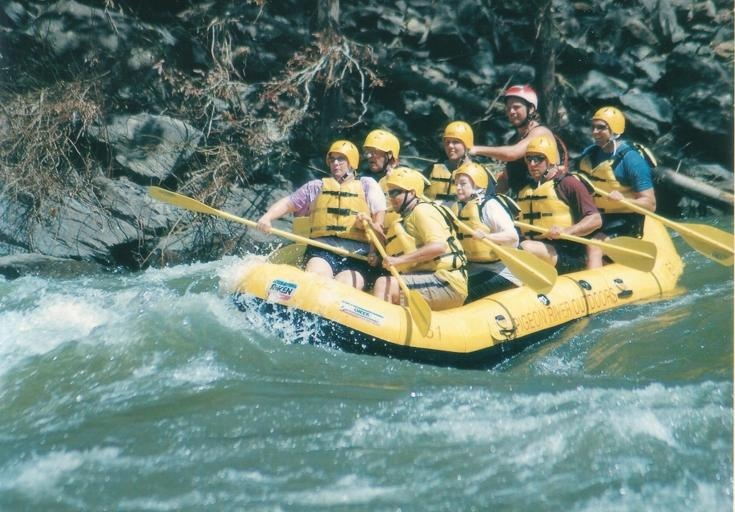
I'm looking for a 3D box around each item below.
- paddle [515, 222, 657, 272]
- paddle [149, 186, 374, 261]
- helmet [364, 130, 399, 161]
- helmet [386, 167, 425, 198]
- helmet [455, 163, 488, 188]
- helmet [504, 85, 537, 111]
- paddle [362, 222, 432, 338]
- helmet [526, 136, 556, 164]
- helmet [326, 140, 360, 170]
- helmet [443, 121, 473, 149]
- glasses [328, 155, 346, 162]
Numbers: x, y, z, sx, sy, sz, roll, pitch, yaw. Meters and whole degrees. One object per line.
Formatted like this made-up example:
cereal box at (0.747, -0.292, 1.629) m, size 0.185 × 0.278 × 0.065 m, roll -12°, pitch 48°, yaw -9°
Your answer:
paddle at (2.772, -0.195, 9.835) m, size 1.935 × 0.455 × 0.138 m, roll 15°, pitch 46°, yaw 24°
paddle at (-1.730, -0.463, 11.204) m, size 3.138 × 0.343 × 0.170 m, roll 20°, pitch 34°, yaw 2°
helmet at (0.199, -1.423, 9.727) m, size 0.465 × 0.356 × 0.360 m, roll -10°, pitch 25°, yaw -25°
helmet at (0.483, -0.848, 9.034) m, size 0.443 × 0.275 × 0.316 m, roll 3°, pitch 28°, yaw -43°
helmet at (1.306, -1.009, 9.317) m, size 0.357 × 0.292 × 0.286 m, roll -32°, pitch 13°, yaw -4°
helmet at (2.181, -2.194, 10.429) m, size 0.361 × 0.317 × 0.620 m, roll 14°, pitch 14°, yaw 26°
paddle at (0.380, 0.299, 8.805) m, size 0.276 × 0.103 × 2.061 m, roll -32°, pitch 37°, yaw 4°
helmet at (2.282, -1.372, 9.863) m, size 0.296 × 0.329 × 0.416 m, roll -6°, pitch 2°, yaw 39°
helmet at (-0.282, -1.260, 9.469) m, size 0.348 × 0.353 × 0.467 m, roll 6°, pitch 8°, yaw 39°
helmet at (1.231, -1.621, 10.126) m, size 0.326 × 0.349 × 0.434 m, roll 12°, pitch 21°, yaw 37°
glasses at (-0.366, -1.193, 9.242) m, size 0.111 × 0.058 × 0.146 m, roll -3°, pitch -23°, yaw 18°
